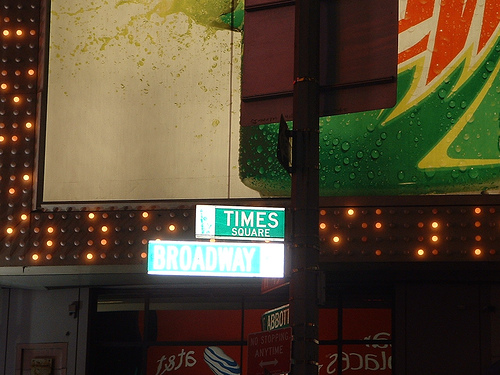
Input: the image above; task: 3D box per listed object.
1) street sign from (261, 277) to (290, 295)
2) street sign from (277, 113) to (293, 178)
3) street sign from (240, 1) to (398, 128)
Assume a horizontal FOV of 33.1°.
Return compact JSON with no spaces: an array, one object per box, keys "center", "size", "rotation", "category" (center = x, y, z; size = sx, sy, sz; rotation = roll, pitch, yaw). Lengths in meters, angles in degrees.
[{"center":[0.360,1.545,13.574],"size":[0.176,0.233,0.873],"rotation":[3,-10,-18],"category":"street sign"},{"center":[0.509,-0.687,12.490],"size":[0.230,0.893,0.445],"rotation":[-1,-9,6],"category":"street sign"},{"center":[1.109,-2.108,13.961],"size":[2.339,2.545,0.174],"rotation":[-2,-13,25],"category":"street sign"}]
